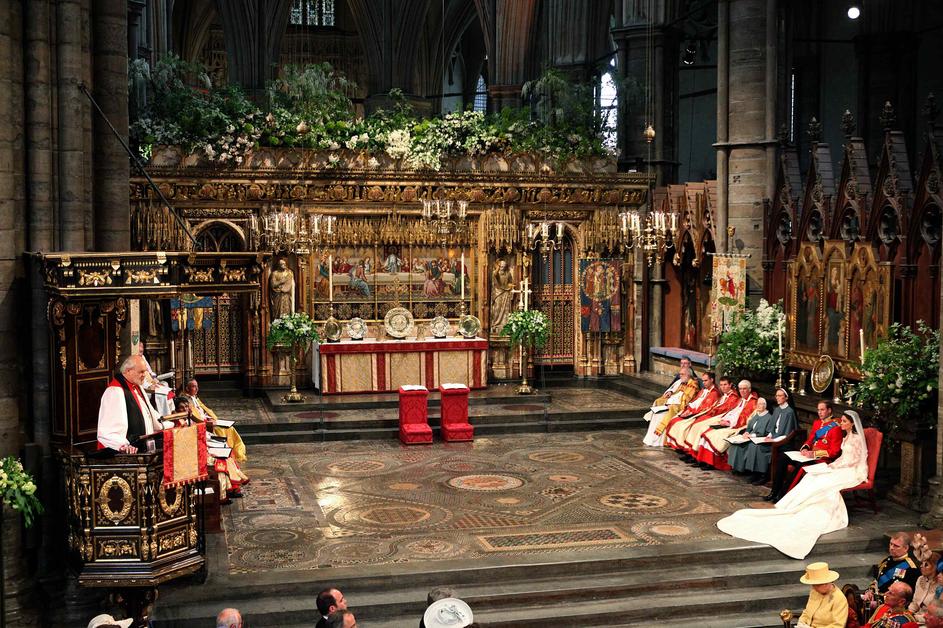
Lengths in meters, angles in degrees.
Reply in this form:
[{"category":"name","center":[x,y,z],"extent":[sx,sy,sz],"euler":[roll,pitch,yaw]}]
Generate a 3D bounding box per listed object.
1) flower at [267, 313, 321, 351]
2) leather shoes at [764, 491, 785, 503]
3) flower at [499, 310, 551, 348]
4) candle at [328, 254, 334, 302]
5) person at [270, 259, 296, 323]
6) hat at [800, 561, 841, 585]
[{"category":"flower","center":[-3.682,0.333,20.033],"extent":[0.812,0.585,0.830],"euler":[-2,7,-15]},{"category":"leather shoes","center":[4.703,2.813,14.920],"extent":[0.315,0.136,0.115],"euler":[1,3,-2]},{"category":"flower","center":[1.178,0.286,21.164],"extent":[0.842,0.691,0.850],"euler":[-1,6,-36]},{"category":"candle","center":[-3.194,-0.825,21.961],"extent":[0.129,1.033,0.253],"euler":[-1,10,-10]},{"category":"person","center":[-4.175,-0.577,21.211],"extent":[0.537,1.332,0.365],"euler":[-1,10,-10]},{"category":"hat","center":[3.971,2.960,11.022],"extent":[0.340,0.263,0.273],"euler":[0,10,-7]}]
